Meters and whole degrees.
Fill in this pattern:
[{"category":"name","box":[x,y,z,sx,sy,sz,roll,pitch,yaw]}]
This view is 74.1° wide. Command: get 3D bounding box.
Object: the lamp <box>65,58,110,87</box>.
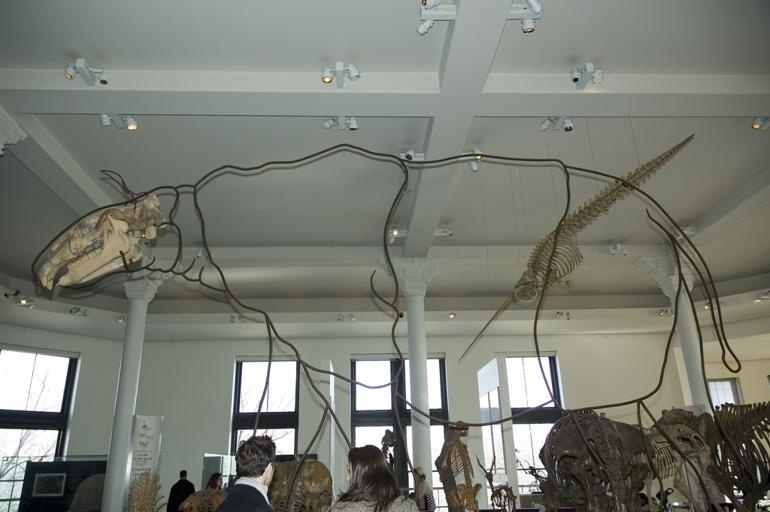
[{"category":"lamp","box":[-3.378,-2.083,5.846,0.447,0.281,0.258,13,-54,-24]}]
